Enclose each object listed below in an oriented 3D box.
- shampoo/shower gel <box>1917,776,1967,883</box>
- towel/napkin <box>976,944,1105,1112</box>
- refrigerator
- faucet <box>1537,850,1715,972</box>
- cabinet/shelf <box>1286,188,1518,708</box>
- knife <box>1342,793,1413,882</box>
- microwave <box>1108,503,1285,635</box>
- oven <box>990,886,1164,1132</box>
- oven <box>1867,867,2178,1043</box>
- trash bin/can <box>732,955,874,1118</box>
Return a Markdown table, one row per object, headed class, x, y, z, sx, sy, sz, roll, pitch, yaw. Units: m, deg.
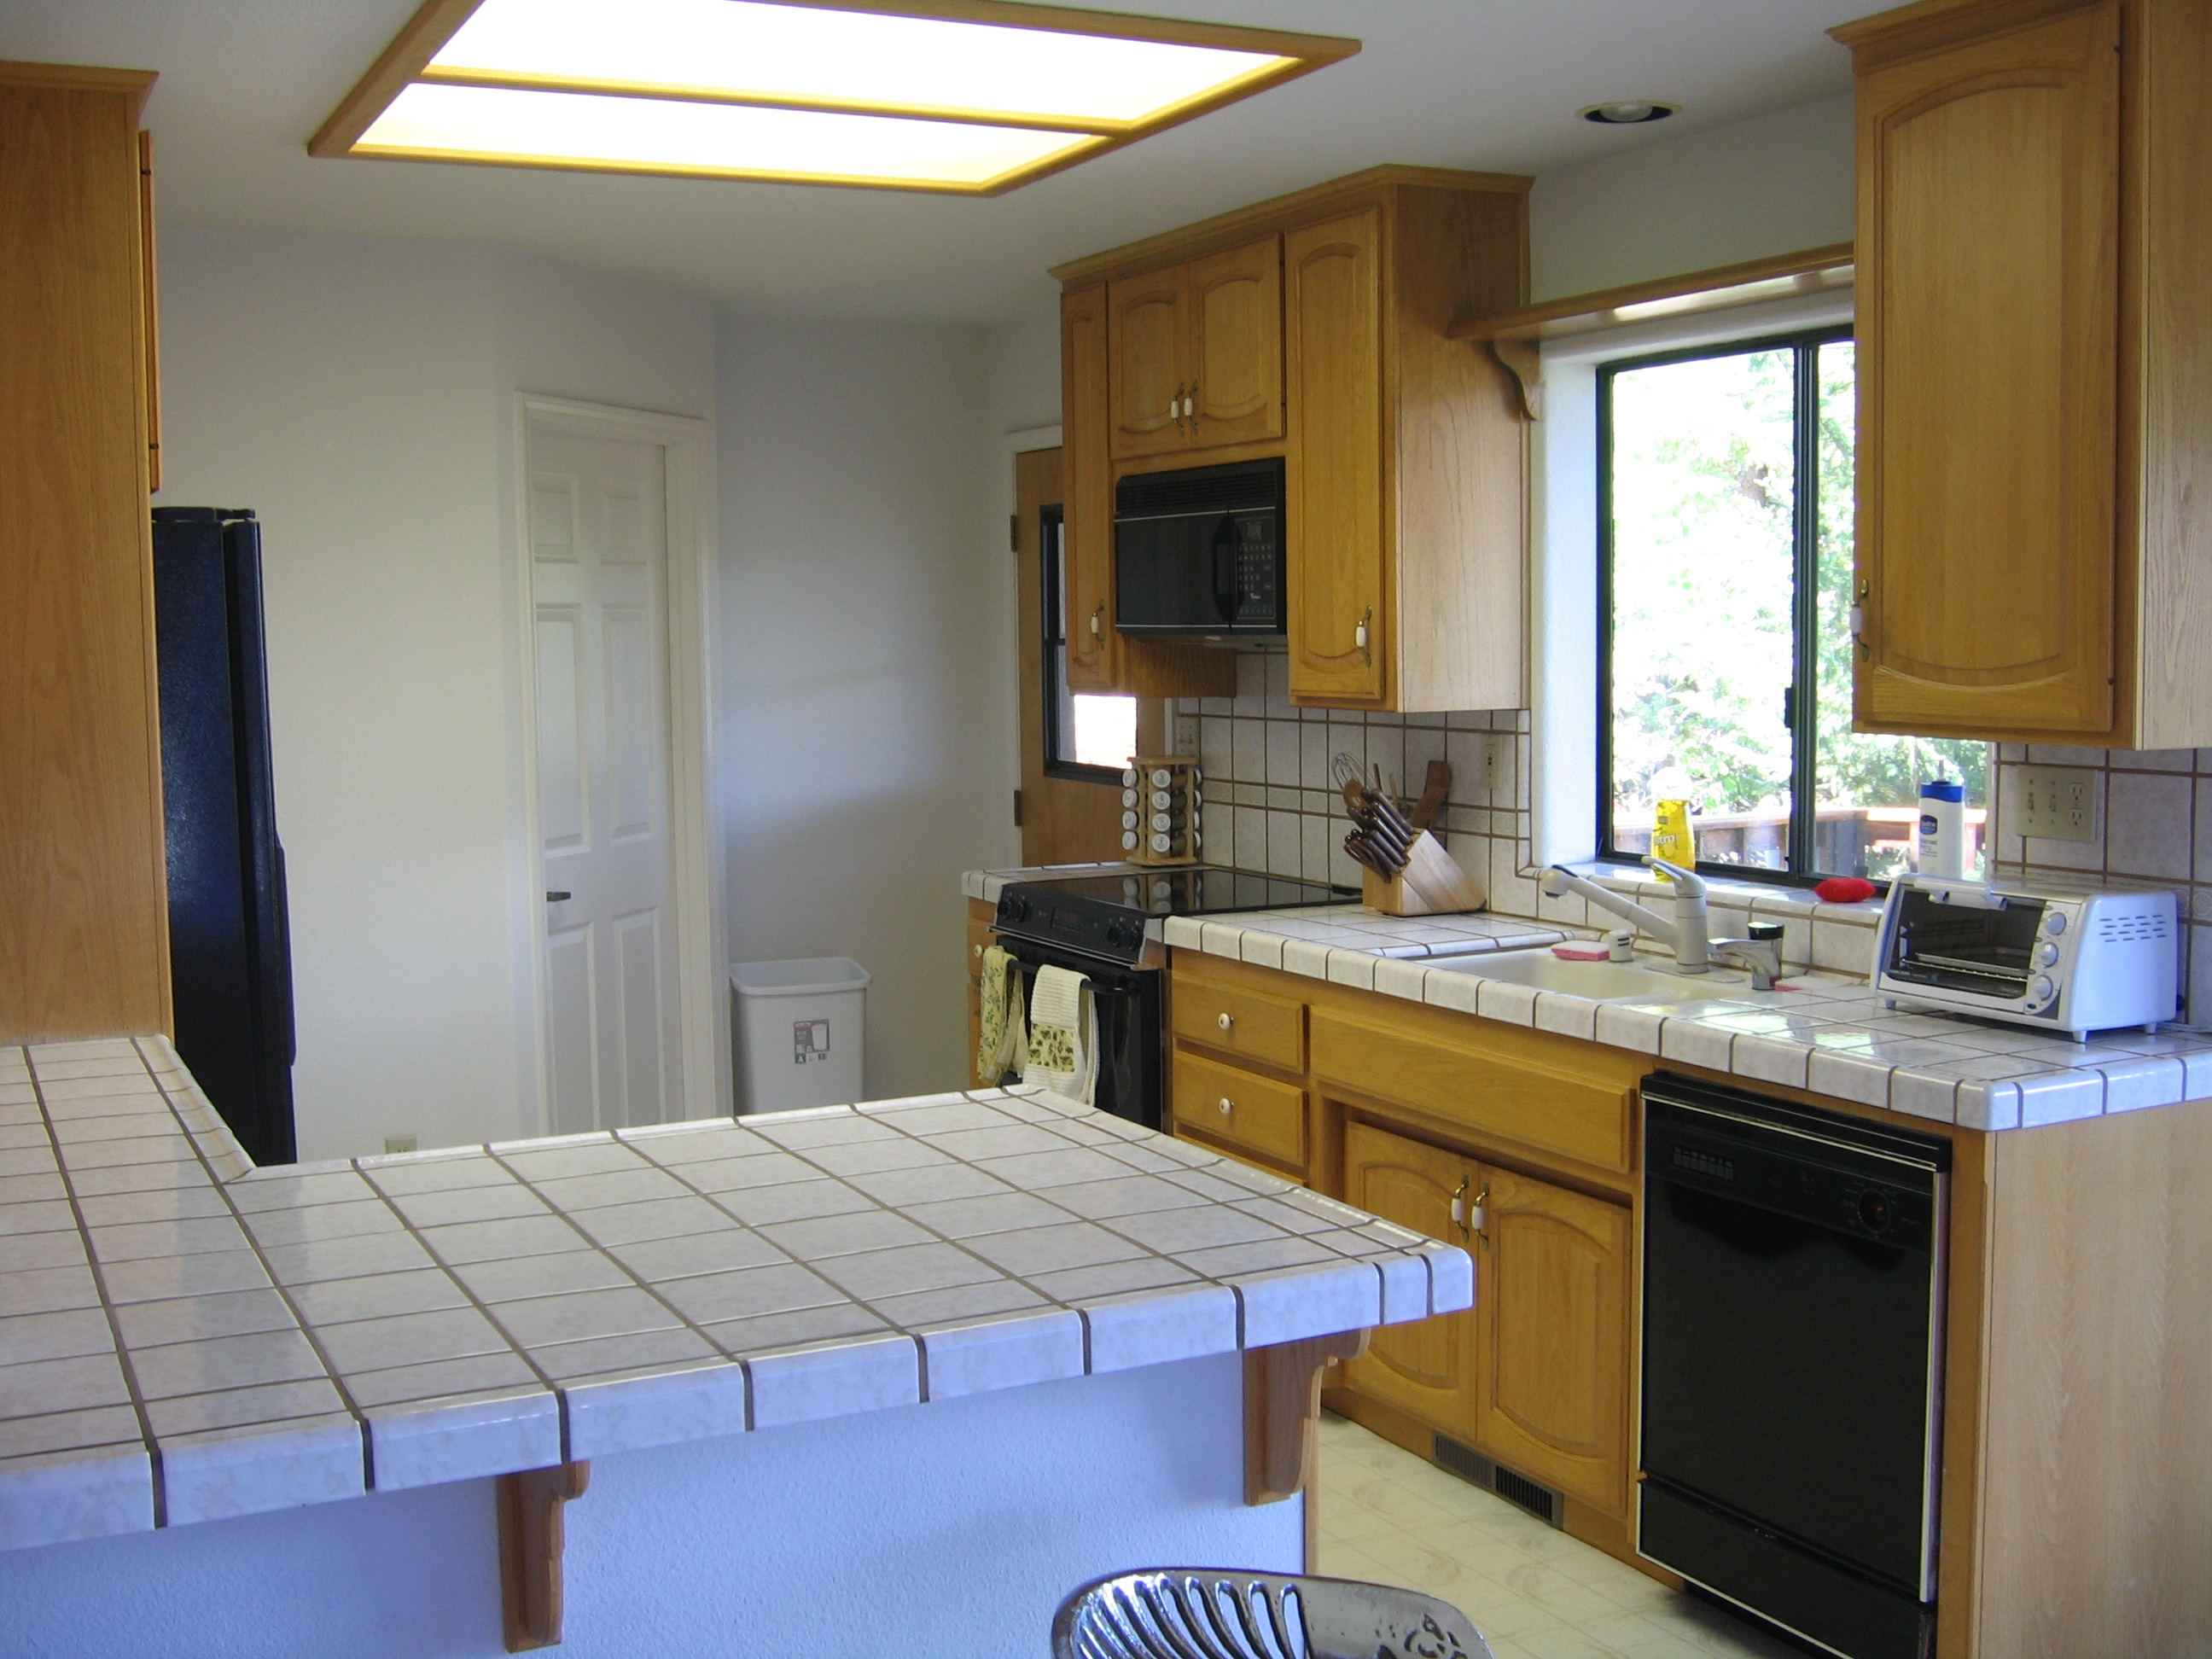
| class | x | y | z | sx | sy | sz | roll | pitch | yaw |
| --- | --- | --- | --- | --- | --- | --- | --- | --- | --- |
| shampoo/shower gel | 1.493 | 0.004 | 3.149 | 0.074 | 0.163 | 0.116 | 2 | 7 | 21 |
| towel/napkin | -0.151 | 0.479 | 4.345 | 0.078 | 0.255 | 0.386 | -3 | 8 | -22 |
| refrigerator | -1.836 | 0.044 | 3.664 | 0.240 | 1.393 | 0.271 | -4 | 7 | -32 |
| faucet | 1.114 | 0.165 | 3.772 | 0.082 | 0.224 | 0.401 | -8 | 13 | -42 |
| cabinet/shelf | 0.707 | -0.883 | 4.141 | 0.586 | 1.189 | 0.336 | 0 | 6 | 4 |
| knife | 0.663 | 0.022 | 4.288 | 0.057 | 0.125 | 0.214 | -10 | 33 | -7 |
| microwave | 0.312 | -0.704 | 4.709 | 0.586 | 0.385 | 0.316 | 6 | 13 | 42 |
| oven | -0.076 | 0.445 | 4.675 | 0.503 | 0.743 | 0.540 | 0 | 0 | -32 |
| oven | 1.616 | 0.204 | 3.037 | 0.260 | 0.244 | 0.374 | 1 | 2 | -30 |
| trash bin/can | -1.044 | 0.696 | 5.944 | 0.442 | 0.469 | 0.364 | -1 | 7 | -12 |
